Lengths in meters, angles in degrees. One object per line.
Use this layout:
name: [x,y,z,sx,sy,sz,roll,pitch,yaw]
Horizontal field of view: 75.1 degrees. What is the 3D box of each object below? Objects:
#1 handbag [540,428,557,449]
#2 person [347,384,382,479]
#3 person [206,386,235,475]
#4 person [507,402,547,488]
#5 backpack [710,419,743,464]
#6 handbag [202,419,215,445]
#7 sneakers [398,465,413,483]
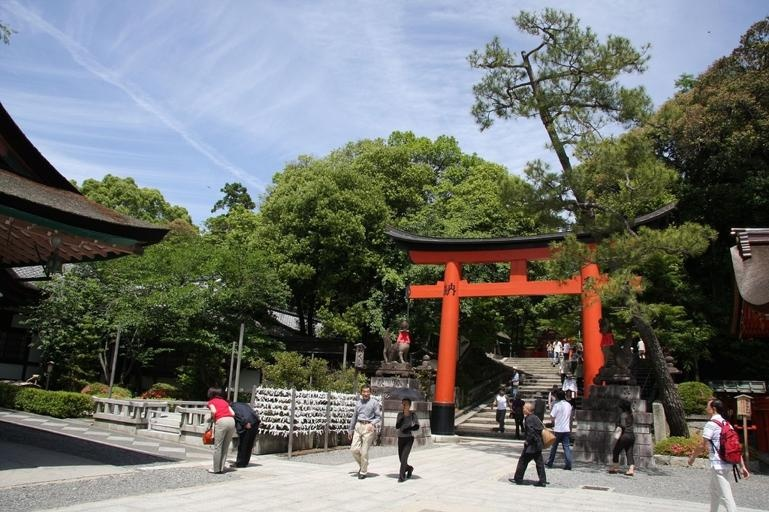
handbag: [3.602,4.001,11.004,0.222,0.430,0.716,-1,-12,22]
person: [-0.453,3.982,11.377,0.649,2.005,0.814,3,-11,0]
person: [-3.611,3.843,11.040,0.648,1.783,0.768,6,-11,-15]
person: [3.218,4.207,11.116,0.748,1.735,1.129,0,-11,15]
backpack: [5.866,3.209,8.611,0.394,0.726,0.259,-3,-13,31]
handbag: [-3.784,3.828,10.841,0.202,0.401,0.466,7,-11,-17]
sneakers: [0.470,4.825,11.116,0.178,0.230,0.550,1,2,18]
